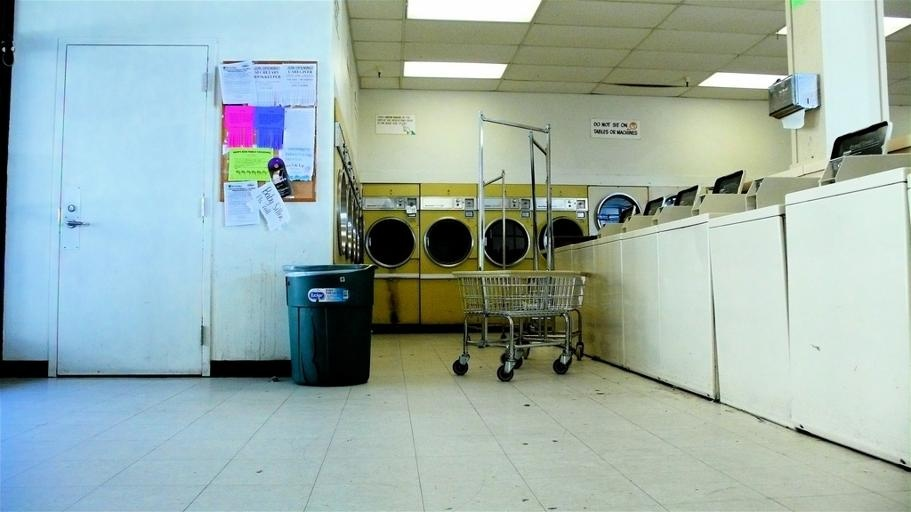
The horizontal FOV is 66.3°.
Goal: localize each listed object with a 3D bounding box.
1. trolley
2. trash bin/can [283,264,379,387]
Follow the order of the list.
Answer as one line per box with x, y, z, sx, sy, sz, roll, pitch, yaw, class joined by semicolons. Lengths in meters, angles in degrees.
0.659;0.519;6.743;1.723;1.058;1.018;2;-3;-36;trolley
-1.048;0.608;6.327;0.894;0.965;0.899;-2;-3;43;trash bin/can
